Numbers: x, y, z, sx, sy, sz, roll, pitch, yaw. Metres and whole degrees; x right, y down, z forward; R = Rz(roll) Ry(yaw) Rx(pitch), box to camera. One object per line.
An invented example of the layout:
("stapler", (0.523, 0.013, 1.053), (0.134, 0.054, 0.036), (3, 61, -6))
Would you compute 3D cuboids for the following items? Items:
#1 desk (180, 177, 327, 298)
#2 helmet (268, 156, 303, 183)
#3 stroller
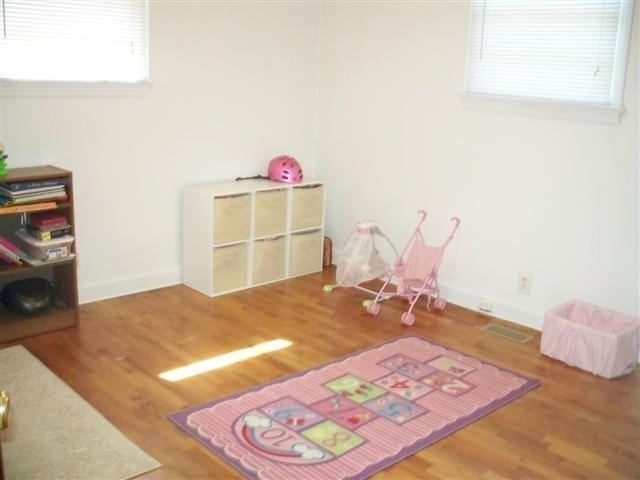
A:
("desk", (-0.601, -0.094, 4.654), (1.357, 0.931, 0.575), (-11, 20, -41))
("helmet", (-0.368, -0.671, 4.657), (0.352, 0.217, 0.207), (13, 20, 39))
("stroller", (0.802, 0.205, 4.102), (0.746, 0.839, 0.489), (-15, 24, -36))
